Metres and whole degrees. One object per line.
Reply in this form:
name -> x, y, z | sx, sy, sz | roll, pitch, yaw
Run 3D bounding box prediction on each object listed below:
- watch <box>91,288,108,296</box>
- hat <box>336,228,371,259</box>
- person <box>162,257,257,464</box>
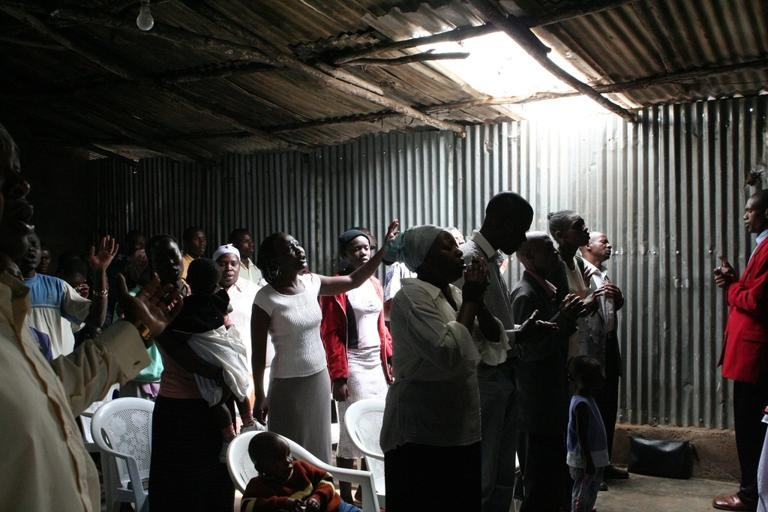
watch -> -2.577, 0.318, 5.902 | 0.091, 0.038, 0.078 | 0, 4, 21
hat -> -0.336, -0.170, 6.634 | 0.270, 0.337, 0.187 | 1, 12, -14
person -> -1.331, 0.783, 5.153 | 0.648, 1.574, 0.514 | -11, 15, -30
